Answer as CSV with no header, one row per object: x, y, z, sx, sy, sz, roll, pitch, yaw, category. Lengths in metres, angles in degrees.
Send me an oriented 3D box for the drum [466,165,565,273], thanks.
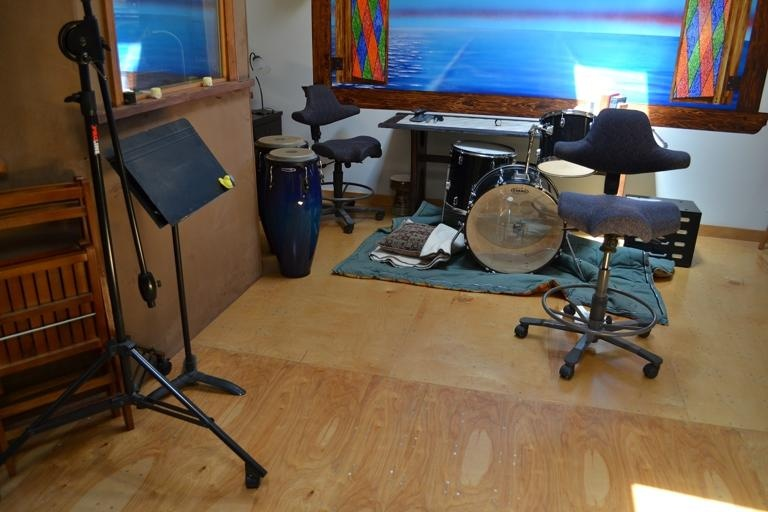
1.013,-0.267,4.290,0.562,0.588,0.413,26,28,-7,drum

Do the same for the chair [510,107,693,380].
1.383,-0.099,3.422,0.870,1.507,0.848,13,27,26,chair

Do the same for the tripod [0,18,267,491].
-1.204,-0.008,2.567,1.066,2.125,0.872,14,27,27,tripod

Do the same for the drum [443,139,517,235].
0.777,-0.531,4.515,0.504,0.714,0.509,4,29,-2,drum

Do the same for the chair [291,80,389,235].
-0.443,-0.951,5.320,0.820,1.237,0.871,-13,29,-36,chair

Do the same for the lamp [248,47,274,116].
-1.188,-1.655,5.382,0.275,0.551,0.220,-8,3,24,lamp

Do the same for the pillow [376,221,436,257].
0.176,-0.138,4.753,0.325,0.102,0.348,7,31,25,pillow

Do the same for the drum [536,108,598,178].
1.357,-0.867,4.358,0.560,0.503,0.547,-9,18,-25,drum
